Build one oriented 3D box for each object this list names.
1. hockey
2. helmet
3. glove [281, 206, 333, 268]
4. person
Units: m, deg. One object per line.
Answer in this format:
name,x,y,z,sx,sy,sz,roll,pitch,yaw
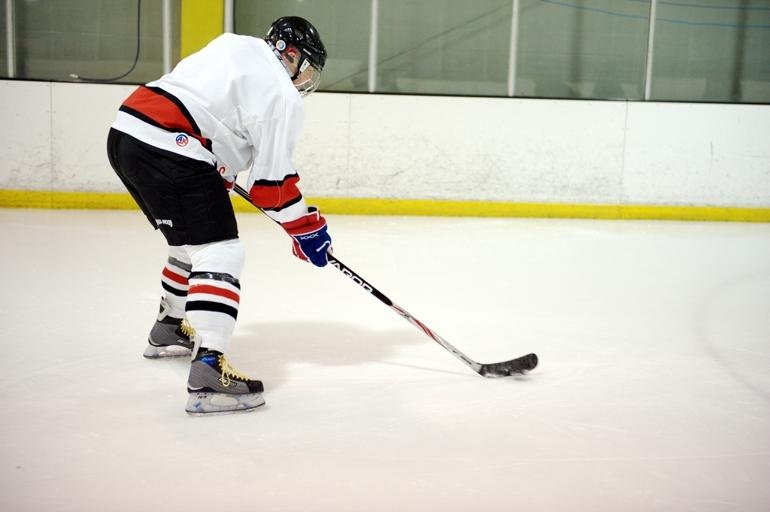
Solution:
hockey,-0.037,0.152,4.859,1.891,0.211,0.208,36,46,14
helmet,-0.451,-0.954,3.778,0.278,0.267,0.322,9,-19,46
glove,-0.335,-0.101,3.836,0.230,0.287,0.127,-21,18,27
person,-0.728,-0.215,3.589,0.985,1.759,0.565,-2,10,-19
